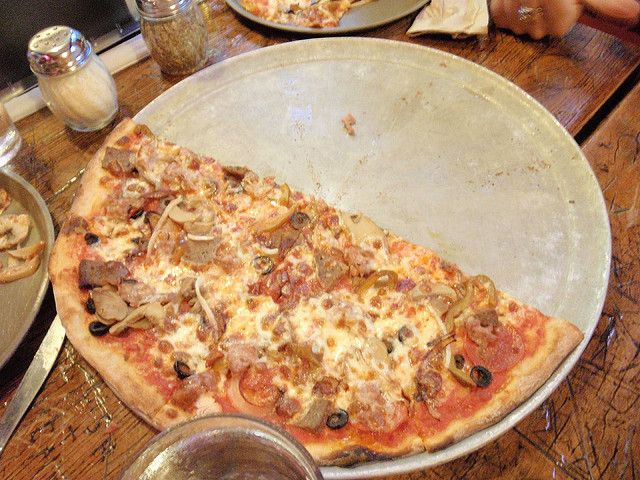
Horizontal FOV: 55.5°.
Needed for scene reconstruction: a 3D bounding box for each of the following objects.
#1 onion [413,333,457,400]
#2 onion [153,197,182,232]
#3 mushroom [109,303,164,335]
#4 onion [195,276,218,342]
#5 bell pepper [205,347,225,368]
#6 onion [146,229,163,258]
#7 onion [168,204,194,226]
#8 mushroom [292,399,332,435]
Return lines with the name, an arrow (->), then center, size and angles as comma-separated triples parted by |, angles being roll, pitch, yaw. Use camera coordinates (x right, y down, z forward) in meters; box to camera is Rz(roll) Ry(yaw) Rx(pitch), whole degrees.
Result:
onion -> 0.410, 0.458, 2.161 | 0.201, 0.108, 0.190 | 1, 31, 2
onion -> -0.618, -0.107, 2.459 | 0.032, 0.028, 0.182 | 29, 72, 13
mushroom -> -0.680, 0.288, 2.259 | 0.205, 0.054, 0.090 | -6, 67, -2
onion -> -0.423, 0.250, 2.272 | 0.041, 0.046, 0.262 | -20, 70, -8
bell pepper -> -0.381, 0.427, 2.201 | 0.046, 0.017, 0.067 | 44, 97, 19
onion -> -0.661, 0.008, 2.409 | 0.023, 0.022, 0.129 | 13, 69, 7
onion -> -0.558, -0.102, 2.460 | 0.068, 0.022, 0.082 | -21, 67, -16
mushroom -> -0.020, 0.612, 2.109 | 0.096, 0.030, 0.113 | -23, 34, 24
